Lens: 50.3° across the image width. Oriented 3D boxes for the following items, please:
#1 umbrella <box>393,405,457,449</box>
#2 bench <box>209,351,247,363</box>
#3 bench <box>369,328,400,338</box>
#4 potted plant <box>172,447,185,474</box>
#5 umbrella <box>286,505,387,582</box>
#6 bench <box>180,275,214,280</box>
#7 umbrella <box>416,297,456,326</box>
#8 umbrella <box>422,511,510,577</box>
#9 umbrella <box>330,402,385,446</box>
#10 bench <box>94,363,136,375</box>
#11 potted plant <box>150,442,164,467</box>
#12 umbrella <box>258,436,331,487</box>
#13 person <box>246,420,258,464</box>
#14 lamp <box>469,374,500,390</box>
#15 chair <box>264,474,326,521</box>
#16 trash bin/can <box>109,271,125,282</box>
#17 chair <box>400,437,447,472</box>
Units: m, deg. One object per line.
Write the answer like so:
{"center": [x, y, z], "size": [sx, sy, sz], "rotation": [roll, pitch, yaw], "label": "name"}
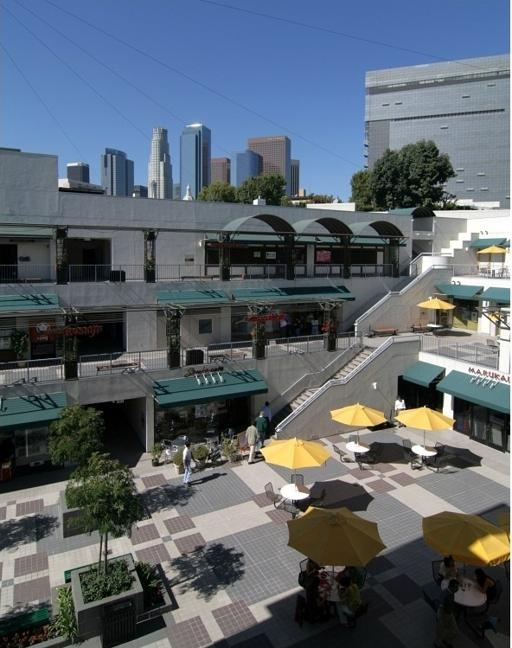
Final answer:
{"center": [6.773, 4.607, 22.262], "size": [2.062, 1.624, 2.164], "rotation": [9, 15, 31], "label": "umbrella"}
{"center": [-1.379, 1.613, 26.467], "size": [2.020, 0.397, 0.487], "rotation": [-5, 9, -35], "label": "bench"}
{"center": [7.900, 0.530, 33.549], "size": [2.917, 0.352, 1.029], "rotation": [-5, 9, -35], "label": "bench"}
{"center": [-3.219, 5.539, 22.280], "size": [0.779, 0.910, 0.853], "rotation": [-1, 5, -22], "label": "potted plant"}
{"center": [1.923, 5.199, 13.160], "size": [2.154, 0.796, 1.948], "rotation": [4, 8, 28], "label": "umbrella"}
{"center": [-3.345, -2.686, 31.223], "size": [1.883, 0.182, 2.508], "rotation": [-1, 8, -5], "label": "bench"}
{"center": [11.645, -0.534, 35.187], "size": [2.317, 1.816, 2.327], "rotation": [-3, 17, -4], "label": "umbrella"}
{"center": [5.077, 5.204, 13.214], "size": [1.908, 0.715, 1.508], "rotation": [4, 8, 26], "label": "umbrella"}
{"center": [4.153, 4.404, 22.467], "size": [1.811, 0.937, 1.816], "rotation": [-1, 14, 1], "label": "umbrella"}
{"center": [-5.907, 1.891, 23.327], "size": [1.744, 0.414, 0.266], "rotation": [-2, 7, -17], "label": "bench"}
{"center": [-4.156, 5.425, 23.019], "size": [0.544, 0.879, 0.786], "rotation": [-1, 7, -11], "label": "potted plant"}
{"center": [1.374, 5.175, 20.184], "size": [1.814, 0.922, 1.827], "rotation": [-1, 12, -3], "label": "umbrella"}
{"center": [-0.130, 5.054, 23.499], "size": [0.470, 1.505, 1.207], "rotation": [0, 7, -1], "label": "person"}
{"center": [10.463, 2.633, 24.891], "size": [0.124, 0.367, 1.060], "rotation": [20, -2, -26], "label": "lamp"}
{"center": [1.305, 5.965, 18.698], "size": [1.533, 0.793, 1.581], "rotation": [0, 5, 1], "label": "chair"}
{"center": [-7.364, -2.605, 29.036], "size": [0.879, 0.525, 1.969], "rotation": [-2, 8, -14], "label": "trash bin/can"}
{"center": [7.081, 5.435, 22.767], "size": [1.110, 0.573, 1.149], "rotation": [-1, 6, -3], "label": "chair"}
